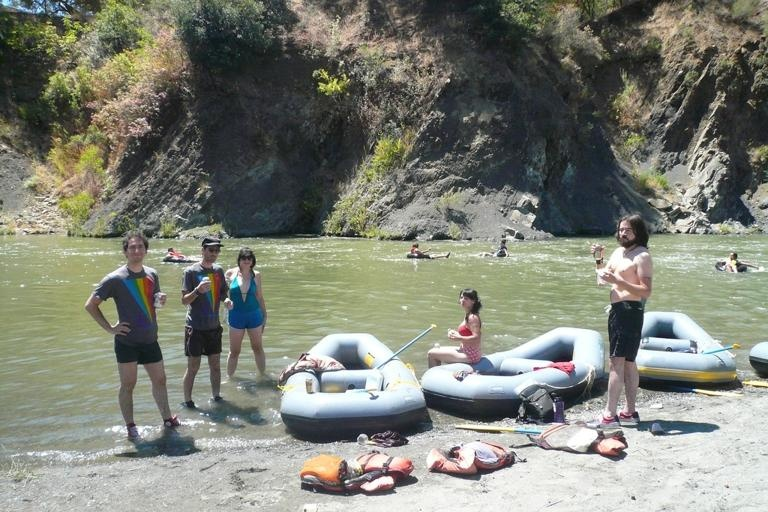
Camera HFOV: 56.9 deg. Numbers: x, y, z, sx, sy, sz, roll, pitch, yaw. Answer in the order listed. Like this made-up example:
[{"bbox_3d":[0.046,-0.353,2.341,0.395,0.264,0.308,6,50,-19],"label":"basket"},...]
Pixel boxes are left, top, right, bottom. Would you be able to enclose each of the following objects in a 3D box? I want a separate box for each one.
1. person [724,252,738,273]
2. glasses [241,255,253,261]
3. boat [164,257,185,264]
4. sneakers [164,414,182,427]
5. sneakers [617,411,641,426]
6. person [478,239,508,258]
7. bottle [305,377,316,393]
[{"bbox_3d":[14.967,0.280,30.448,0.647,0.348,0.809,-2,26,21],"label":"person"},{"bbox_3d":[-3.888,0.060,20.027,0.375,0.133,0.132,-1,2,-5],"label":"glasses"},{"bbox_3d":[-9.661,0.201,32.421,0.634,0.143,0.361,5,16,0],"label":"boat"},{"bbox_3d":[-5.605,4.406,18.846,0.219,0.271,0.430,13,12,32],"label":"sneakers"},{"bbox_3d":[6.397,4.247,18.478,0.626,0.306,0.275,8,19,36],"label":"sneakers"},{"bbox_3d":[5.554,-0.385,35.241,1.273,0.865,1.693,-1,2,10],"label":"person"},{"bbox_3d":[-1.983,3.487,18.956,0.306,0.502,0.307,0,0,0],"label":"bottle"}]
